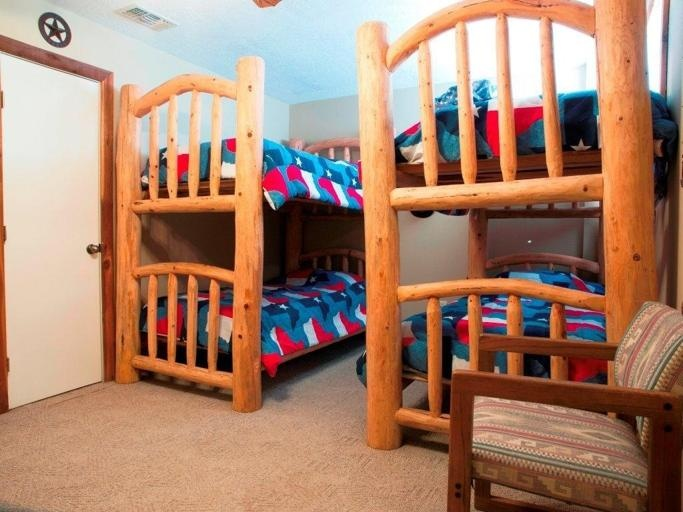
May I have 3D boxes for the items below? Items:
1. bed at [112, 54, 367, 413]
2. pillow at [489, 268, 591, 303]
[{"bbox_3d":[-1.008,-0.181,3.870,1.401,2.123,0.695,8,14,34],"label":"bed"},{"bbox_3d":[1.443,0.154,4.088,0.442,0.106,0.358,5,10,43],"label":"pillow"}]
